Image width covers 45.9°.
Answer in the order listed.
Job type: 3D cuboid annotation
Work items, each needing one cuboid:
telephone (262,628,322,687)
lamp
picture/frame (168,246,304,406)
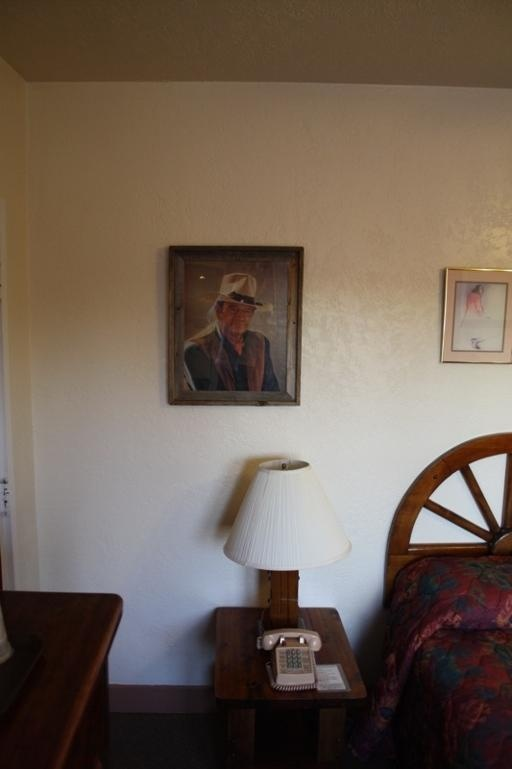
[{"bbox_3d":[0.092,0.746,1.661,0.171,0.085,0.190,7,14,9],"label":"telephone"},{"bbox_3d":[0.082,0.485,1.806,0.340,0.542,0.368,0,13,10],"label":"lamp"},{"bbox_3d":[-0.075,-0.210,1.931,0.441,0.580,0.024,1,7,-2],"label":"picture/frame"}]
